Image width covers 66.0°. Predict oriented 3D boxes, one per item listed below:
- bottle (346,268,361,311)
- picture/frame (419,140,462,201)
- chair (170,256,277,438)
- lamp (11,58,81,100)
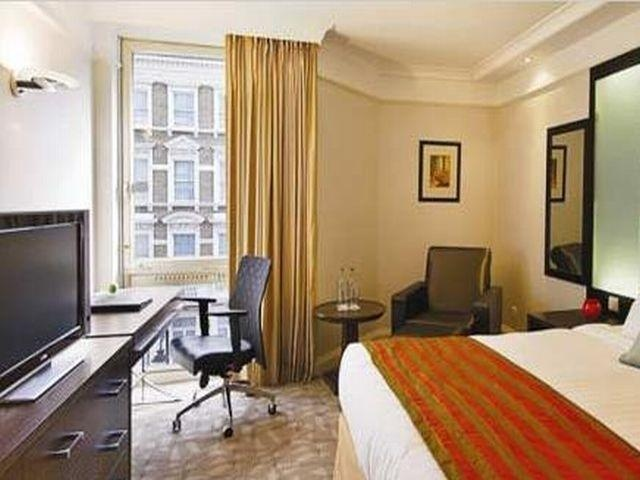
[{"bbox_3d":[0.280,0.445,4.307,0.127,0.365,0.137,-3,-20,-1],"label":"bottle"},{"bbox_3d":[1.279,-0.767,5.317,0.599,0.890,0.064,-1,3,-10],"label":"picture/frame"},{"bbox_3d":[-0.741,0.766,3.760,0.694,1.246,0.742,-2,4,-15],"label":"chair"},{"bbox_3d":[-1.755,-0.998,3.103,0.307,0.194,0.282,2,13,10],"label":"lamp"}]
